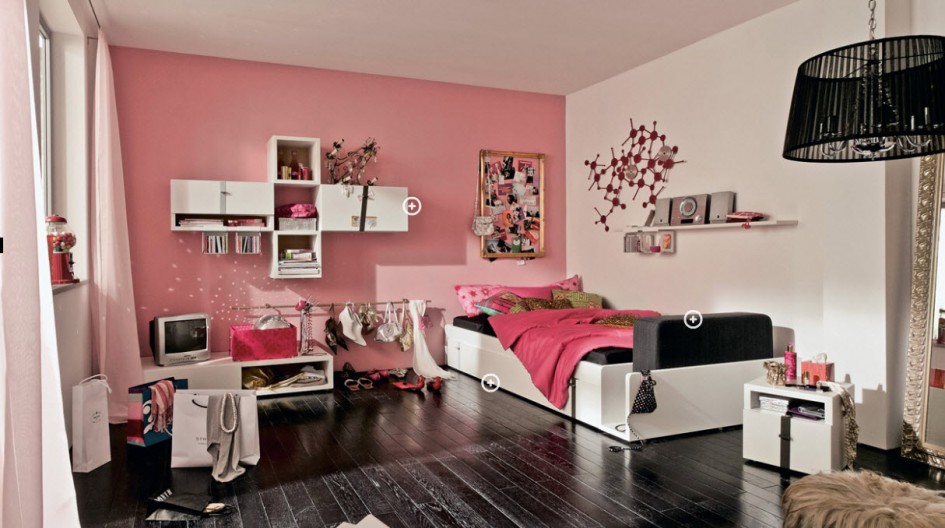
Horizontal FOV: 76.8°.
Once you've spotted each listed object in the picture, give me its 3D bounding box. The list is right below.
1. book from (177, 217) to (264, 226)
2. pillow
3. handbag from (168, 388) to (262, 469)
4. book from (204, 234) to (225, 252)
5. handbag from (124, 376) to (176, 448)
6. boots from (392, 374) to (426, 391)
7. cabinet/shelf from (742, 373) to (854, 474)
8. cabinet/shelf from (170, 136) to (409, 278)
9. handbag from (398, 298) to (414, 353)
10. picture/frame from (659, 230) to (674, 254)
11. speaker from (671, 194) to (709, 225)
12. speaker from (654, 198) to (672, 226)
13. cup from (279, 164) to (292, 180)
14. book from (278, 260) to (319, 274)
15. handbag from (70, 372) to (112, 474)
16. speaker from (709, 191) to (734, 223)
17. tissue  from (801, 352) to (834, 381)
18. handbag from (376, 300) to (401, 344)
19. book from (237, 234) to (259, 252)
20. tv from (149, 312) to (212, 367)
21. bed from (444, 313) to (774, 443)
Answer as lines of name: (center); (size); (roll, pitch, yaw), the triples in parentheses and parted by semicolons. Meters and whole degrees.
book: (-2.757, -0.477, 6.626); (0.886, 0.107, 0.306); (-3, 11, -17)
pillow: (0.588, 0.433, 7.662); (1.586, 0.395, 0.537); (-2, 11, -11)
handbag: (-2.100, 1.375, 4.975); (0.775, 0.627, 0.278); (-4, -12, 11)
book: (-2.780, -0.219, 6.541); (0.265, 0.225, 0.182); (1, 1, 5)
handbag: (-2.837, 1.332, 5.359); (0.193, 0.441, 0.493); (-9, -14, 16)
boots: (-0.725, 1.350, 6.795); (0.415, 0.107, 0.252); (0, 11, 2)
cabinet/shelf: (2.773, 1.343, 5.054); (0.547, 0.607, 0.718); (-4, 3, -39)
cabinet/shelf: (-2.207, -0.668, 6.805); (1.899, 1.069, 0.302); (0, -4, -22)
handbag: (-0.840, 0.758, 7.345); (0.097, 0.619, 0.247); (-14, -11, 37)
picture/frame: (2.238, -0.261, 6.824); (0.058, 0.216, 0.233); (6, -13, -29)
speaker: (2.386, -0.618, 6.600); (0.154, 0.330, 0.488); (-7, 13, -32)
speaker: (2.174, -0.610, 6.854); (0.143, 0.309, 0.250); (-9, 15, -38)
cup: (-2.127, -1.053, 6.766); (0.145, 0.155, 0.157); (0, 11, 0)
book: (-1.967, 0.036, 6.746); (0.439, 0.187, 0.055); (-4, 12, -20)
handbag: (-3.158, 1.303, 4.929); (0.272, 0.699, 0.389); (-3, 12, -15)
speaker: (2.627, -0.615, 6.298); (0.294, 0.329, 0.212); (7, 13, 33)
tissue : (2.944, 0.851, 5.115); (0.268, 0.344, 0.267); (0, -3, 32)
handbag: (-1.026, 0.688, 7.285); (0.295, 0.394, 0.384); (0, 11, -2)
book: (-2.481, -0.249, 6.670); (0.285, 0.248, 0.199); (2, 3, 18)
tv: (-3.192, 0.801, 6.413); (0.387, 0.526, 0.612); (-5, -3, 30)
bed: (1.301, 1.040, 6.128); (1.483, 0.518, 1.912); (0, 0, -31)
